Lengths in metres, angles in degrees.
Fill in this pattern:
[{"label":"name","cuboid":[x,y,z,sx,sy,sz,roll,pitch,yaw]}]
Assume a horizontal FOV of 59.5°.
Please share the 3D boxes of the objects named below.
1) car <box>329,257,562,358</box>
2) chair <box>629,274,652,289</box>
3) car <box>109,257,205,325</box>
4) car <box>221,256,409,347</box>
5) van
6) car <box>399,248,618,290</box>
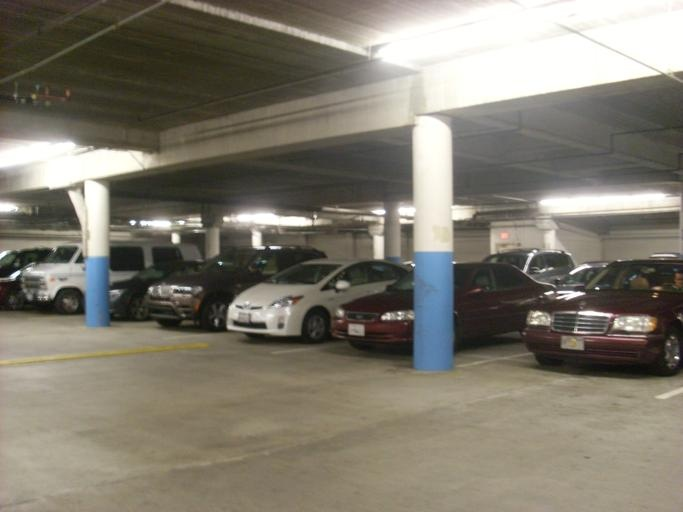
[{"label":"car","cuboid":[2.289,1.012,12.203,4.088,1.143,1.830,3,-6,-42]},{"label":"chair","cuboid":[5.184,0.463,10.336,0.255,0.230,0.256,6,-5,16]},{"label":"car","cuboid":[-5.441,1.058,18.535,3.207,1.298,1.430,1,-2,-41]},{"label":"car","cuboid":[-0.441,0.927,13.614,1.922,1.089,3.527,-3,-2,44]},{"label":"van","cuboid":[-7.564,0.549,19.985,5.219,2.098,2.839,0,-1,-30]},{"label":"car","cuboid":[4.749,0.326,15.858,3.522,1.269,1.542,5,-6,-31]}]
